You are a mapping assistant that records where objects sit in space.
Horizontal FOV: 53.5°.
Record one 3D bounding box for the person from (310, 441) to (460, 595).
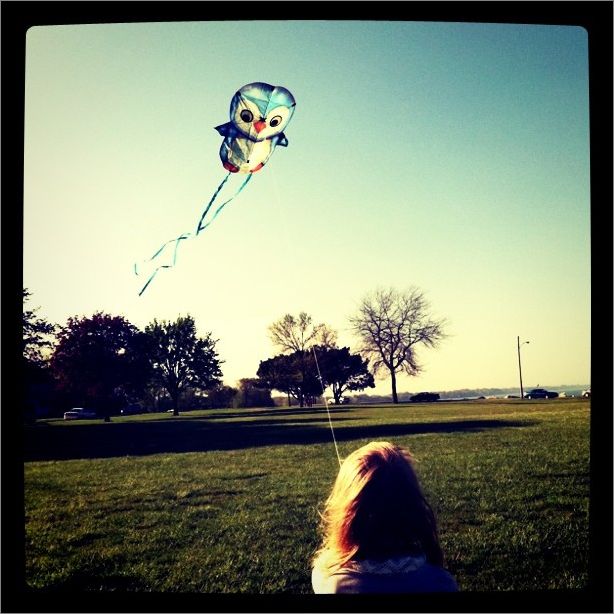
[{"bbox_3d":[0.594,1.752,4.921,1.093,1.196,0.472,0,9,10],"label":"person"}]
